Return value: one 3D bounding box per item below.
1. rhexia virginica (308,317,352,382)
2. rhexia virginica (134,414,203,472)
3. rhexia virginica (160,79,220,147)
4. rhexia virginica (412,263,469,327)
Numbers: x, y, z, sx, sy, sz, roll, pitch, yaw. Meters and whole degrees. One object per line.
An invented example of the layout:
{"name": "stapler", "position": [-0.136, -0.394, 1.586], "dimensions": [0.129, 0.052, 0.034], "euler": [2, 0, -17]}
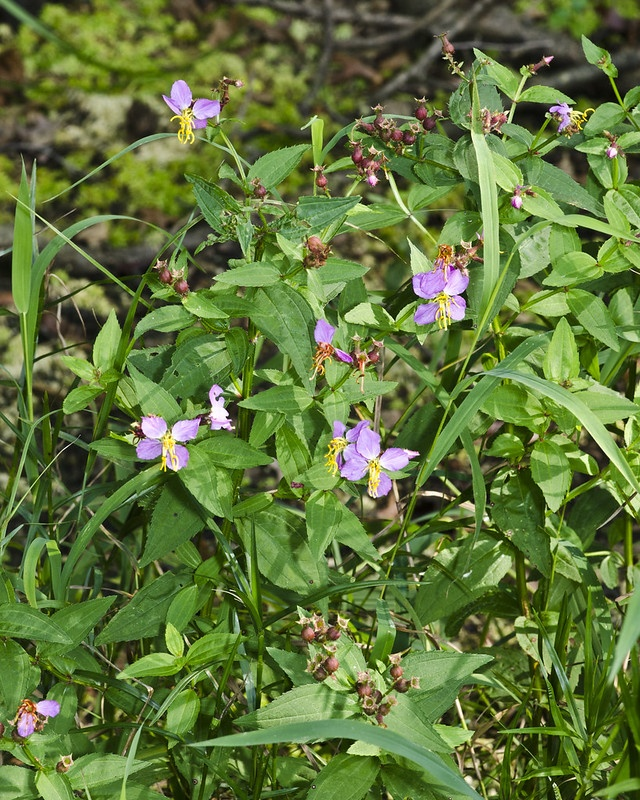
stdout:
{"name": "rhexia virginica", "position": [0.030, -0.072, 1.092], "dimensions": [0.049, 0.064, 0.072], "euler": [10, 34, 11]}
{"name": "rhexia virginica", "position": [-0.205, 0.057, 1.091], "dimensions": [0.063, 0.111, 0.074], "euler": [22, 57, 10]}
{"name": "rhexia virginica", "position": [-0.189, -0.432, 1.195], "dimensions": [0.075, 0.097, 0.078], "euler": [-9, 57, -10]}
{"name": "rhexia virginica", "position": [0.175, -0.146, 1.130], "dimensions": [0.093, 0.079, 0.040], "euler": [-12, 28, -19]}
